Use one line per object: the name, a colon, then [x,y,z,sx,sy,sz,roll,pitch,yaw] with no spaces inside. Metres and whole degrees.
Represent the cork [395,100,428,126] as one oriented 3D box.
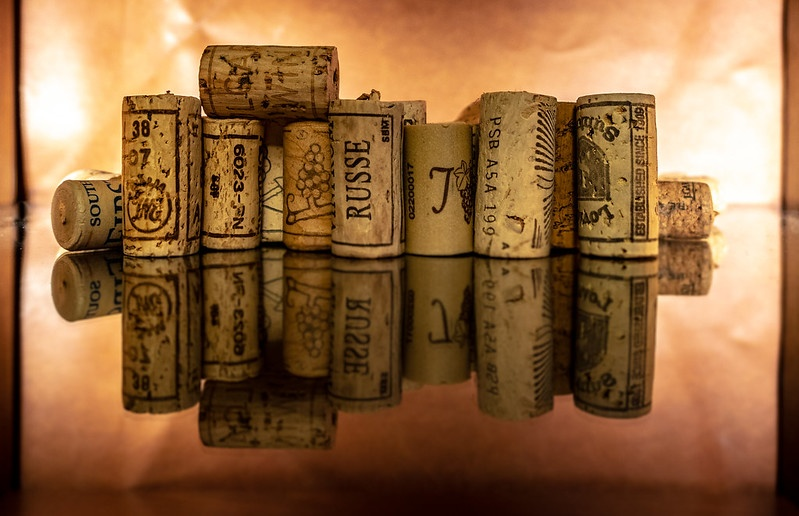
cork: [0.087,-1.072,6.336,0.223,0.212,0.218,0,5,0]
